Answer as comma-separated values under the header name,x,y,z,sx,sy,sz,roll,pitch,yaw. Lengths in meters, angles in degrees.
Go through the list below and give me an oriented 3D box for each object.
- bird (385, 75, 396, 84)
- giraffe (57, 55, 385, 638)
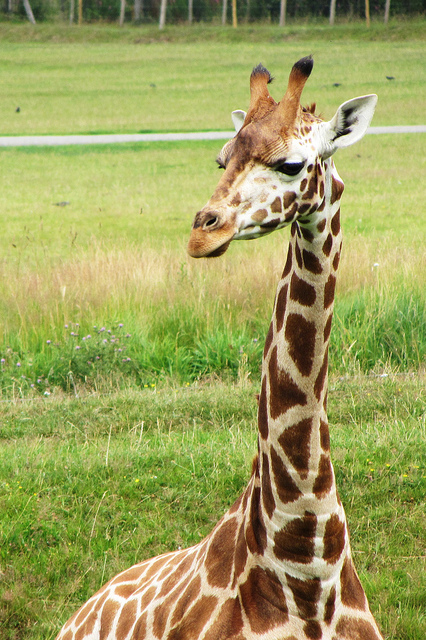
name,x,y,z,sx,sy,sz,roll,pitch,yaw
bird,2.997,-4.064,20.223,0.164,0.137,0.432,1,12,5
giraffe,0.185,0.155,5.661,1.196,2.744,0.680,-1,8,-3
